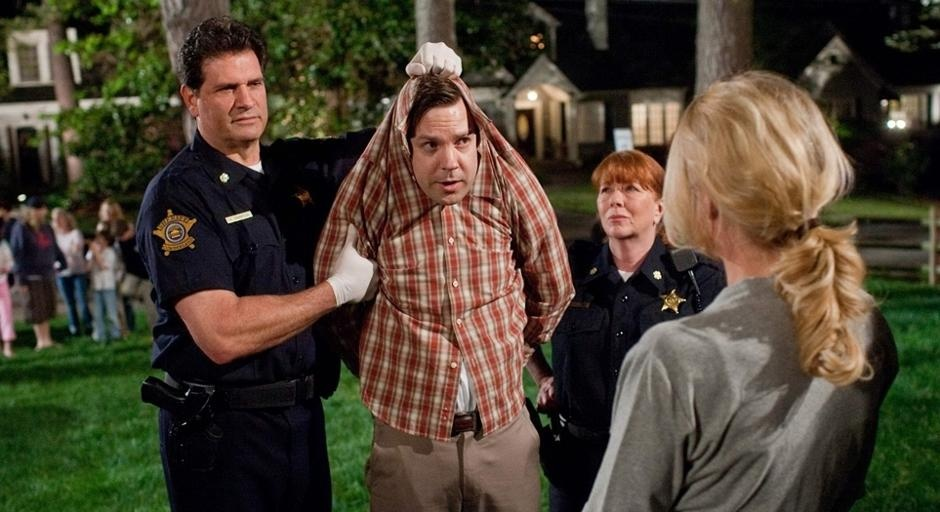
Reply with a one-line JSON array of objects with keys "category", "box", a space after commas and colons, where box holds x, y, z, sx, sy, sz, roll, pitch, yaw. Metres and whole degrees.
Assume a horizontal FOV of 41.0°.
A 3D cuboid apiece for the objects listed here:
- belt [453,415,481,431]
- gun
[{"category": "belt", "box": [-0.040, 1.867, 13.974, 0.256, 0.083, 0.186, -6, -13, 1]}, {"category": "gun", "box": [-3.233, 1.882, 14.168, 0.776, 1.100, 0.249, -2, 6, 13]}]
